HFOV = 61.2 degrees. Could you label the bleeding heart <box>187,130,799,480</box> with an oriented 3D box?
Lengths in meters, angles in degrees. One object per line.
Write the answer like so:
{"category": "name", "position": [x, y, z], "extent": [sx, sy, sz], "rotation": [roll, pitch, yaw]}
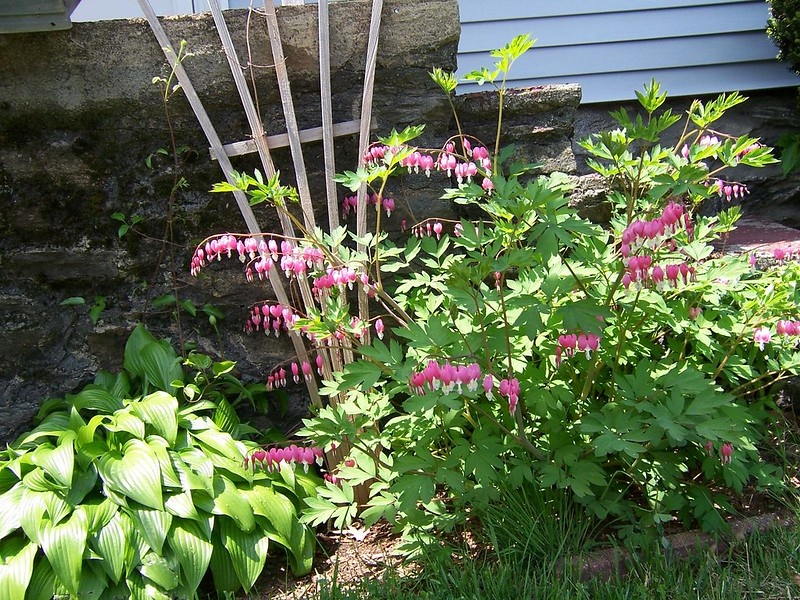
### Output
{"category": "bleeding heart", "position": [0.381, 0.081, 3.640], "extent": [1.675, 1.220, 1.266], "rotation": [-4, -16, 8]}
